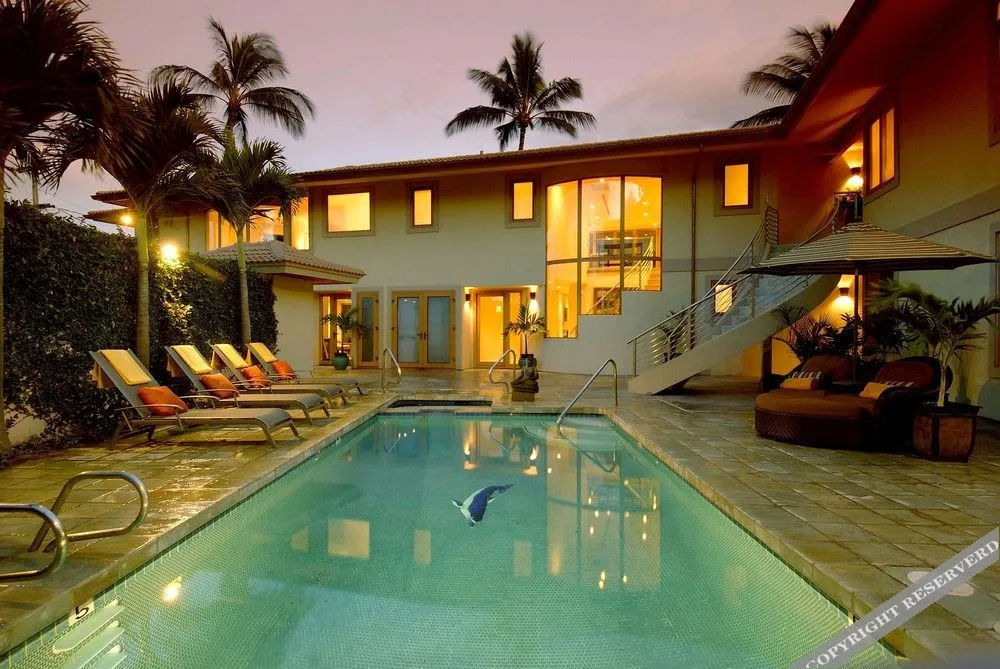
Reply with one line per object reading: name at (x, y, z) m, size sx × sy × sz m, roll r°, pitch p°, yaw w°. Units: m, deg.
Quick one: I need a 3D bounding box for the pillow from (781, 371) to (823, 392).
pillow at (5.299, 0.804, 11.717) m, size 0.399 × 0.126 × 0.410 m, roll 1°, pitch 32°, yaw 42°

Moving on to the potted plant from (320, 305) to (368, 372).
potted plant at (-5.198, 0.077, 21.723) m, size 1.465 × 1.915 × 1.563 m, roll -6°, pitch -14°, yaw 25°
